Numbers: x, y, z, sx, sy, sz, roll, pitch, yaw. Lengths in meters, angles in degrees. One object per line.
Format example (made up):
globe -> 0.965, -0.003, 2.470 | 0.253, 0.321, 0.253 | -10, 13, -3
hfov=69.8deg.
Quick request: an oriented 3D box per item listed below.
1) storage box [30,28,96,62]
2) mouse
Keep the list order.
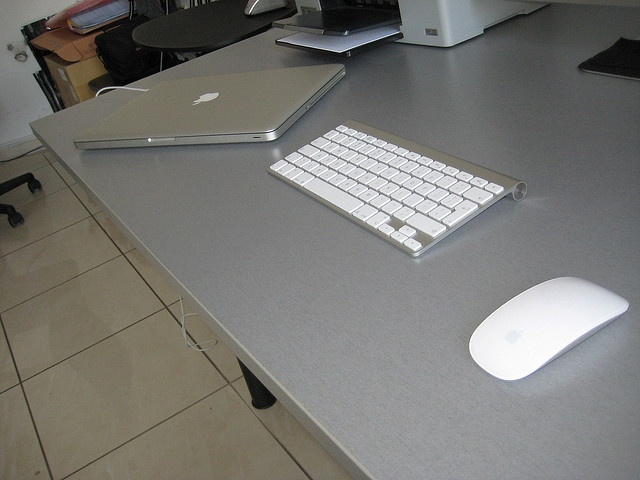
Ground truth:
storage box -> -1.749, -1.265, 3.049 | 0.342, 0.089, 0.394 | -15, 0, -34
mouse -> 0.211, 0.075, 0.422 | 0.145, 0.036, 0.077 | -32, 41, -9
